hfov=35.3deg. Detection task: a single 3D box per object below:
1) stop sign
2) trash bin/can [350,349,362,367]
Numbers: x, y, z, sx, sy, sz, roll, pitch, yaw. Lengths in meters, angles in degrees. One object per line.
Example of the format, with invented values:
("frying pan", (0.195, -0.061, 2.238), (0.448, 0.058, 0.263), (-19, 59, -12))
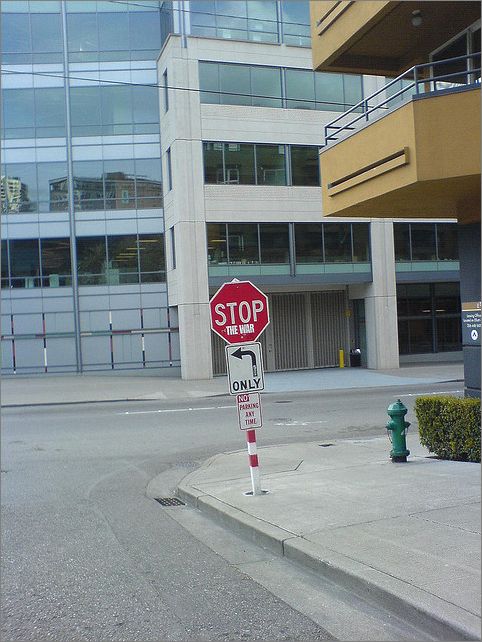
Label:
("stop sign", (-0.009, -0.101, 8.494), (0.675, 0.727, 0.413), (-4, 0, -12))
("trash bin/can", (5.102, 1.639, 33.367), (0.454, 0.826, 0.331), (-4, 0, 3))
